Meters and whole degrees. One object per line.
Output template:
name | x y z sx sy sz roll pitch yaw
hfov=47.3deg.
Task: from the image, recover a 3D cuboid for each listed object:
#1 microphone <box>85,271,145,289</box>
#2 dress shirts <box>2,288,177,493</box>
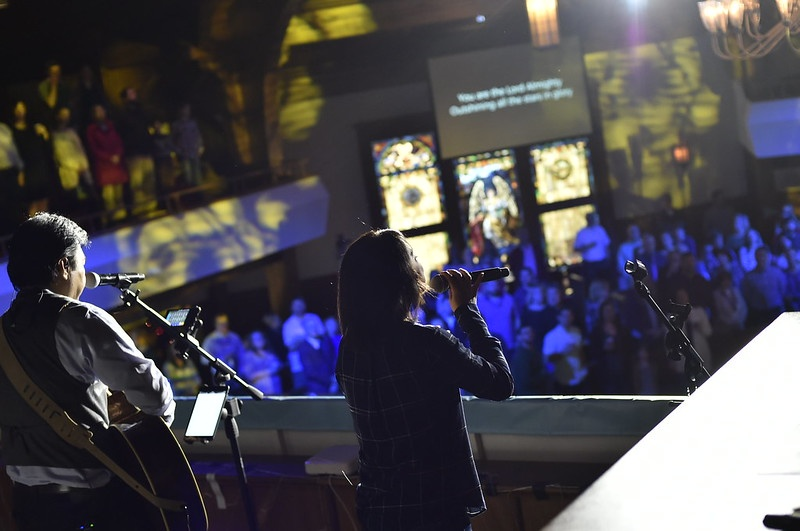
microphone | -1.764 0.077 5.661 0.375 0.120 0.126 0 4 -43
dress shirts | -1.842 0.763 5.343 0.979 1.047 0.542 -22 2 18
